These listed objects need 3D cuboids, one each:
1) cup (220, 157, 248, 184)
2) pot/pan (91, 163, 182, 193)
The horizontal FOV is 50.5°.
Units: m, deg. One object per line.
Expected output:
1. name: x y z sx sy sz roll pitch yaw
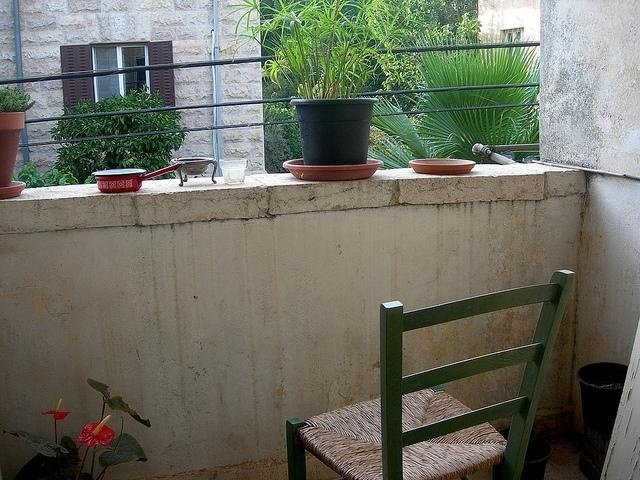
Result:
1. cup: -0.337 -0.275 2.617 0.104 0.088 0.150 -5 15 -6
2. pot/pan: -0.681 -0.235 2.516 0.308 0.082 0.153 -6 16 -12
